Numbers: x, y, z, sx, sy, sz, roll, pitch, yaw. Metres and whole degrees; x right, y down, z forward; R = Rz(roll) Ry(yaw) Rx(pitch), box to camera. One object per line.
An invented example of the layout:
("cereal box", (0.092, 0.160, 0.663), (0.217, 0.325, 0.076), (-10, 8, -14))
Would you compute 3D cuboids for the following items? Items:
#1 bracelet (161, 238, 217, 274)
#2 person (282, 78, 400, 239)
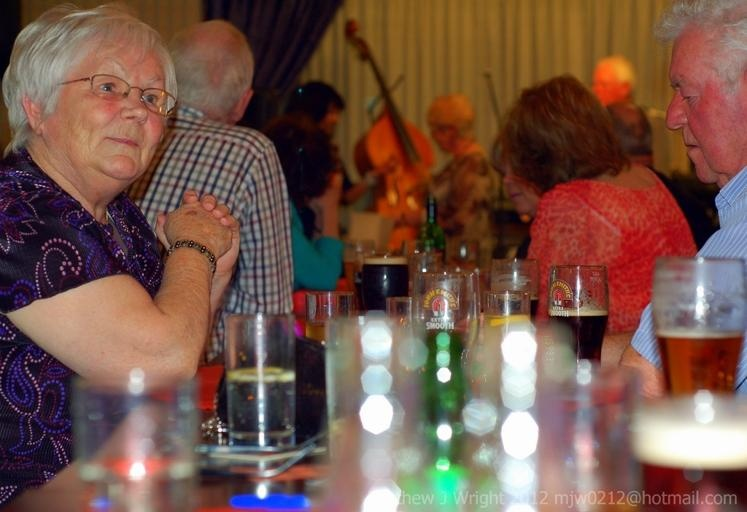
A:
("bracelet", (-0.438, -0.003, 1.978), (0.081, 0.024, 0.089), (24, 19, -37))
("person", (-0.209, -0.532, 4.963), (0.481, 1.044, 0.288), (-20, 18, -26))
